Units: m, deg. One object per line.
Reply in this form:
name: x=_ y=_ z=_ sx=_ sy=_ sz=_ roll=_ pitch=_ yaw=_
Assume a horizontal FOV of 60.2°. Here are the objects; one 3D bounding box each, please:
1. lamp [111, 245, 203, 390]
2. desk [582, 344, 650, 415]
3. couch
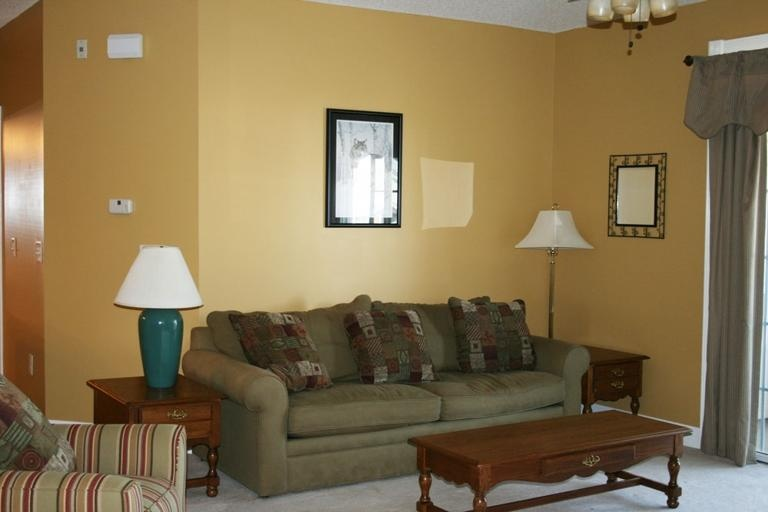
lamp: x=-1.588 y=0.425 z=4.638 sx=0.531 sy=0.980 sz=0.282 roll=1 pitch=6 yaw=11
desk: x=1.927 y=1.110 z=5.957 sx=0.634 sy=0.601 sz=0.612 roll=0 pitch=0 yaw=-27
couch: x=0.138 y=1.030 z=5.508 sx=3.117 sy=1.314 sz=1.272 roll=0 pitch=-3 yaw=-27
